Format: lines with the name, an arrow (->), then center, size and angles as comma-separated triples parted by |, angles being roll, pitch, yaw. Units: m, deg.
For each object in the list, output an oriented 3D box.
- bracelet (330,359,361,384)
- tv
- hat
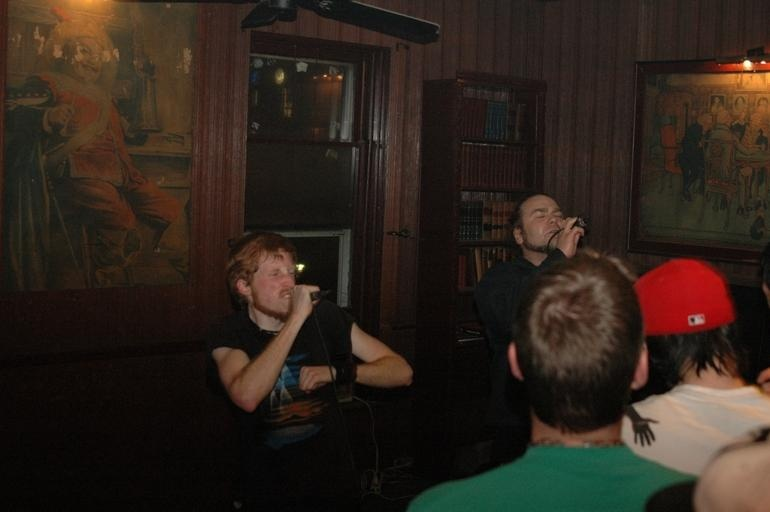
bracelet -> -0.182, 0.553, 3.004 | 0.104, 0.137, 0.186 | -1, -1, 30
tv -> -0.538, 0.045, 3.990 | 0.710, 0.689, 0.079 | -1, 2, -35
hat -> 1.044, 0.150, 2.333 | 0.304, 0.218, 0.394 | -12, 4, -36
